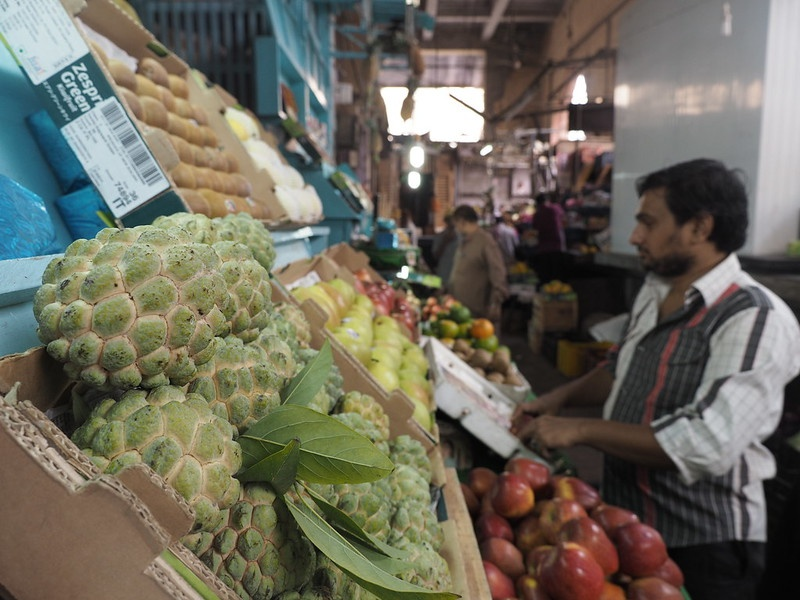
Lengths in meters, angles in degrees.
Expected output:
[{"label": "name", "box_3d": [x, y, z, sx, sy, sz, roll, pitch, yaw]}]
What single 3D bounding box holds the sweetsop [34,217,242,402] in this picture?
[{"label": "sweetsop", "box_3d": [-0.519, -0.025, 1.303, 0.276, 0.319, 0.330, 12, 21, 38]}]
